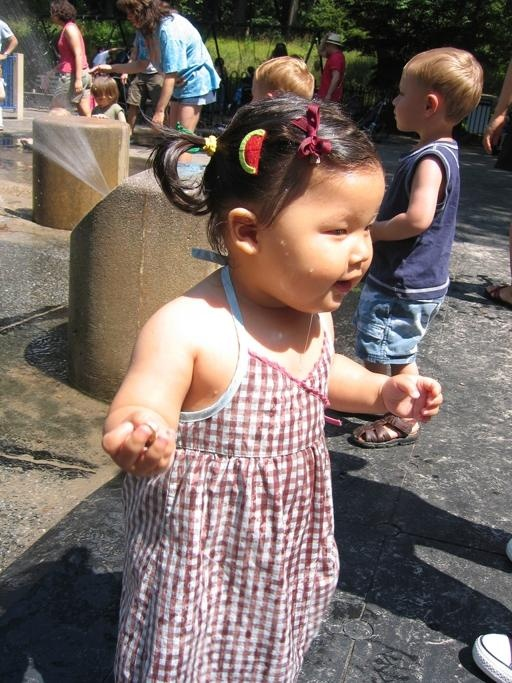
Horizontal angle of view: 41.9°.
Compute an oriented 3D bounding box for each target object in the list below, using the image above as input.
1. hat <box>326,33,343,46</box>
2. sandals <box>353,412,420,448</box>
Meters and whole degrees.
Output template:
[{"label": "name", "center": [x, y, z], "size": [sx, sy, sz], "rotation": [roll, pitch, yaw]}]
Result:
[{"label": "hat", "center": [1.153, -4.540, 10.027], "size": [0.228, 0.190, 0.407], "rotation": [9, 21, 4]}, {"label": "sandals", "center": [0.512, 0.352, 2.709], "size": [0.280, 0.101, 0.126], "rotation": [-1, 19, -7]}]
